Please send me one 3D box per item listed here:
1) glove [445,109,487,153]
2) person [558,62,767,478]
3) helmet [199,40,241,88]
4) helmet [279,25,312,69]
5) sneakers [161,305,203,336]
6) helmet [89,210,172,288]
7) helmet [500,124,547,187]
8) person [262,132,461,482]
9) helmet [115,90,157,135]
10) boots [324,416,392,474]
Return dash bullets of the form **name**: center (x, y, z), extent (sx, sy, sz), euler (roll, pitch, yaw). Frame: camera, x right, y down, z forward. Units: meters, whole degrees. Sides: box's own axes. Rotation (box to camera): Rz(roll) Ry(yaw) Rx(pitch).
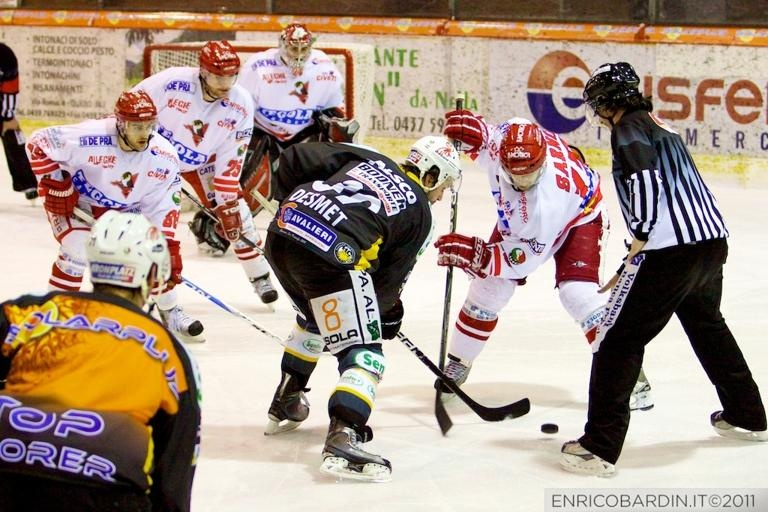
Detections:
- **glove**: center (0.461, -0.748, 5.054), extent (0.256, 0.107, 0.252), euler (29, 42, 8)
- **person**: center (1.291, 0.044, 4.182), extent (1.014, 1.891, 0.437), euler (-3, 10, -22)
- **helmet**: center (-1.071, -1.276, 5.672), extent (0.227, 0.247, 0.195), euler (-4, 10, -26)
- **helmet**: center (-0.663, -1.605, 6.656), extent (0.264, 0.294, 0.318), euler (0, 43, -7)
- **sneakers**: center (-1.211, 0.390, 5.229), extent (0.252, 0.083, 0.108), euler (29, -22, 19)
- **helmet**: center (-0.893, -0.025, 3.182), extent (0.227, 0.233, 0.301), euler (6, 6, 16)
- **helmet**: center (0.695, -0.499, 4.385), extent (0.228, 0.346, 0.231), euler (2, 9, 9)
- **person**: center (-0.094, 0.207, 4.150), extent (0.924, 1.535, 0.805), euler (-1, 9, -7)
- **helmet**: center (-1.354, -0.797, 4.765), extent (0.205, 0.218, 0.202), euler (-2, 9, -18)
- **boots**: center (-0.121, 0.871, 3.942), extent (0.346, 0.229, 0.119), euler (15, -15, -13)
